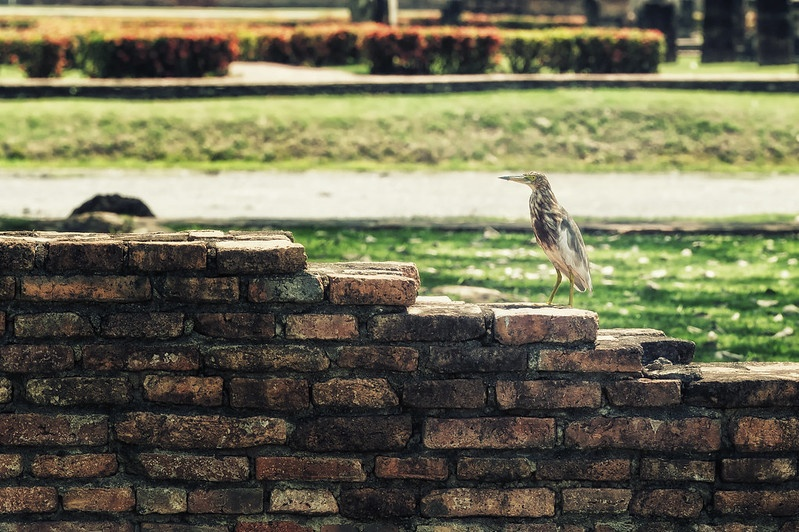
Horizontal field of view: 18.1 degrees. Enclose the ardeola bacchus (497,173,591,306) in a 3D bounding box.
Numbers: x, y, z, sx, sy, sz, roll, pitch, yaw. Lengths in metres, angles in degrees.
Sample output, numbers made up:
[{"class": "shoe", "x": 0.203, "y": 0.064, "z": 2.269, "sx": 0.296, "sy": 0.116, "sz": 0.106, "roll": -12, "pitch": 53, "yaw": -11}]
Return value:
[{"class": "ardeola bacchus", "x": 1.155, "y": -0.189, "z": 19.150, "sx": 0.581, "sy": 1.008, "sz": 0.421, "roll": -1, "pitch": 8, "yaw": 2}]
